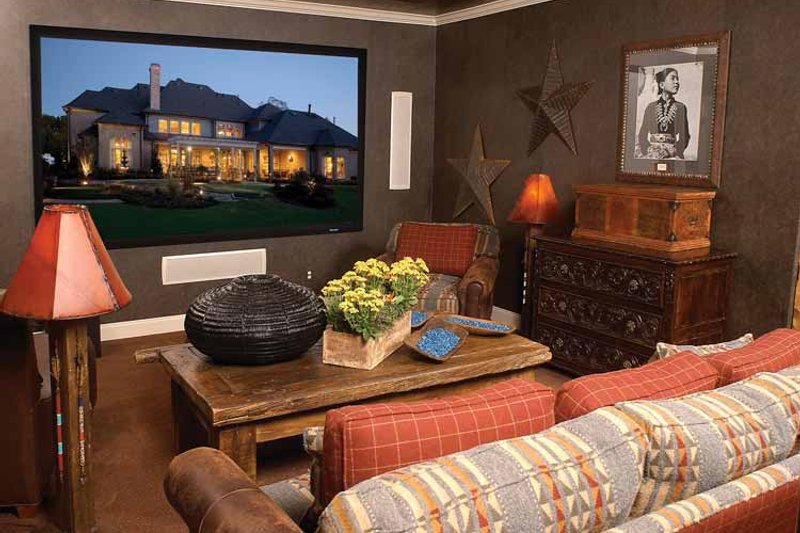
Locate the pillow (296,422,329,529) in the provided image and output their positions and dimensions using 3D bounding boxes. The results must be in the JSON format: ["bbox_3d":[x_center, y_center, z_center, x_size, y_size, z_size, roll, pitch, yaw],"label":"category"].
[{"bbox_3d":[-0.301,0.738,2.080,0.093,0.282,0.266,-2,4,6],"label":"pillow"}]

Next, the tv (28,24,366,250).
[{"bbox_3d":[-1.974,-1.271,5.503,2.383,1.418,0.053,-4,9,-32],"label":"tv"}]

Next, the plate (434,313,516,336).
[{"bbox_3d":[0.461,0.375,3.828,0.188,0.063,0.439,-7,12,-42],"label":"plate"}]

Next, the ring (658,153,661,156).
[{"bbox_3d":[2.004,-0.870,4.558,0.019,0.020,0.005,1,-5,42],"label":"ring"}]

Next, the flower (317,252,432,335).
[{"bbox_3d":[-0.135,0.154,3.388,0.383,0.252,0.572,6,12,13],"label":"flower"}]

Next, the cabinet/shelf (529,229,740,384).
[{"bbox_3d":[1.723,0.339,4.683,0.661,1.061,1.237,-11,16,-36],"label":"cabinet/shelf"}]
